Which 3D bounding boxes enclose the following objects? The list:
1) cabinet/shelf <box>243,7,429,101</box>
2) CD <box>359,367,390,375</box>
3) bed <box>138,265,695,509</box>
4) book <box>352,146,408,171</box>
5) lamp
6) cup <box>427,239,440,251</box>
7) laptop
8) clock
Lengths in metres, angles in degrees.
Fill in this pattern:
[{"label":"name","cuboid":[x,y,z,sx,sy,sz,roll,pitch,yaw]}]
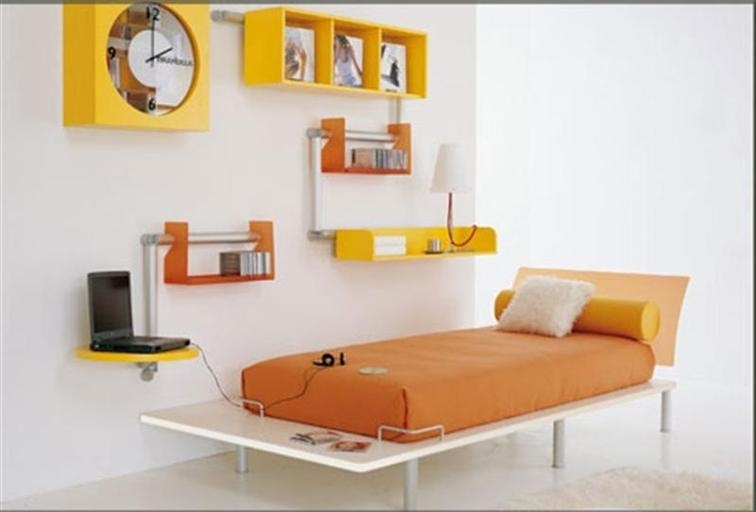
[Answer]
[{"label":"cabinet/shelf","cuboid":[-0.298,-1.598,4.917,1.585,0.640,0.352,-3,5,-40]},{"label":"CD","cuboid":[-0.026,0.696,3.719,0.176,0.012,0.140,0,3,3]},{"label":"bed","cuboid":[0.804,0.956,4.358,3.295,0.973,1.770,0,1,-44]},{"label":"book","cuboid":[0.027,-0.813,5.198,0.549,0.187,0.139,-2,5,-33]},{"label":"lamp","cuboid":[0.700,-0.549,5.554,0.404,0.998,0.549,1,4,10]},{"label":"cup","cuboid":[0.509,-0.096,5.464,0.111,0.107,0.105,1,1,0]},{"label":"laptop","cuboid":[-1.474,0.332,3.719,0.508,0.464,0.410,2,5,29]},{"label":"clock","cuboid":[-1.532,-1.173,3.802,0.335,0.850,0.951,1,3,39]}]
